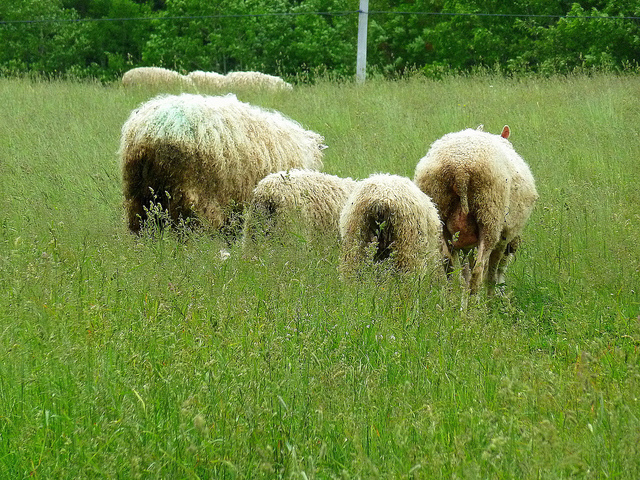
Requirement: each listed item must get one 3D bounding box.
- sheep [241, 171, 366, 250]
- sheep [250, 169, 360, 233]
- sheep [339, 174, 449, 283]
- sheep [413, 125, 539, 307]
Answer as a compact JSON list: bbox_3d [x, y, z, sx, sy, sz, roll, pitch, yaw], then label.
[{"bbox_3d":[-0.202,-0.301,7.371,1.316,1.016,0.554,-3,6,-37],"label":"sheep"},{"bbox_3d":[-0.214,-0.422,7.683,1.338,0.823,0.473,-3,5,-42],"label":"sheep"},{"bbox_3d":[0.643,-0.010,6.697,0.954,0.992,0.869,-2,14,1],"label":"sheep"},{"bbox_3d":[1.813,-0.313,8.367,1.094,1.875,2.409,7,8,23],"label":"sheep"}]
